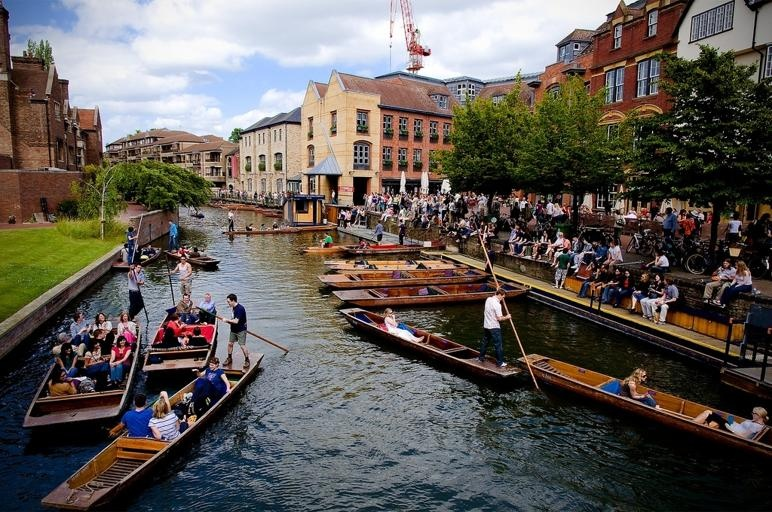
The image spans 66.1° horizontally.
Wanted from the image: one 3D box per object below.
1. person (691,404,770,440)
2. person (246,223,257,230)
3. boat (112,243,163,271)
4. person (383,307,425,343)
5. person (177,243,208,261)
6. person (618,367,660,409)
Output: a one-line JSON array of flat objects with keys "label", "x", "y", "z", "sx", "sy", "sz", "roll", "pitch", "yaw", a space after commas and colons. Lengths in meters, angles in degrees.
[{"label": "person", "x": 12.267, "y": 5.982, "z": 21.099, "sx": 2.162, "sy": 0.665, "sz": 1.271, "roll": 3, "pitch": 10, "yaw": 44}, {"label": "person", "x": -13.306, "y": -2.865, "z": 58.883, "sx": 0.782, "sy": 0.659, "sz": 1.881, "roll": 15, "pitch": 10, "yaw": -15}, {"label": "boat", "x": -16.064, "y": -0.077, "z": 39.561, "sx": 1.321, "sy": 0.489, "sz": 3.538, "roll": 6, "pitch": 20, "yaw": -12}, {"label": "person", "x": 0.615, "y": 3.232, "z": 26.389, "sx": 2.519, "sy": 1.325, "sz": 0.875, "roll": 12, "pitch": 20, "yaw": 43}, {"label": "person", "x": -13.740, "y": -0.244, "z": 42.191, "sx": 0.871, "sy": 0.486, "sz": 3.665, "roll": -6, "pitch": 12, "yaw": -28}, {"label": "person", "x": 9.464, "y": 4.970, "z": 22.246, "sx": 1.286, "sy": 1.253, "sz": 0.821, "roll": 2, "pitch": 8, "yaw": 21}]
